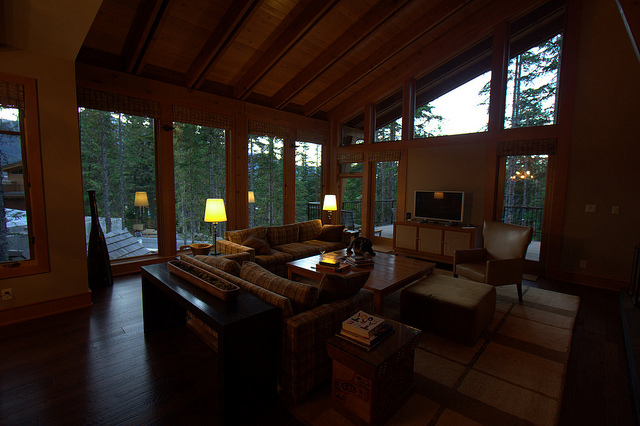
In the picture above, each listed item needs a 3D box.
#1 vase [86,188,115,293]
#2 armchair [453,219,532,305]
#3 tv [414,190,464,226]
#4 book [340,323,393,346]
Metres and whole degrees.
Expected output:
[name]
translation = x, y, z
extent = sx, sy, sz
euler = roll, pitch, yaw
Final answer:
[vase]
translation = -3.530, 0.417, 6.355
extent = 0.352, 1.587, 0.288
euler = -4, 5, -29
[armchair]
translation = 2.729, 0.775, 6.352
extent = 0.920, 1.202, 0.935
euler = -4, 9, -28
[tv]
translation = 2.397, -0.116, 7.950
extent = 0.651, 0.429, 0.242
euler = 9, 18, 40
[book]
translation = 0.585, 1.332, 4.399
extent = 0.262, 0.038, 0.272
euler = 9, 18, 41
